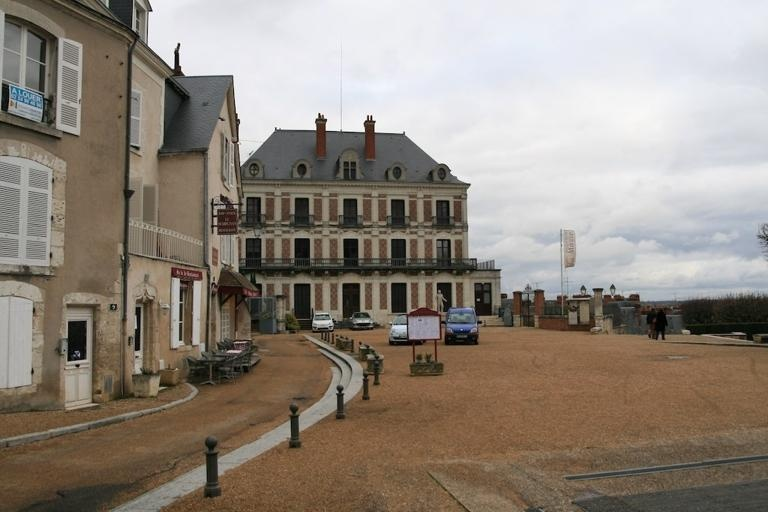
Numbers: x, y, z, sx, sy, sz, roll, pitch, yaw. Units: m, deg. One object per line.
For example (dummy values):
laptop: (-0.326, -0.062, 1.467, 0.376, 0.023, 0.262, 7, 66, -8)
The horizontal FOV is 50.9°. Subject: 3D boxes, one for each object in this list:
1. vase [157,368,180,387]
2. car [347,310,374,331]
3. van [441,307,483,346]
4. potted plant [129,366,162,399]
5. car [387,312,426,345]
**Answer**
vase: (-7.384, 4.168, 27.805, 0.527, 0.548, 0.549, 0, 0, 2)
car: (-1.652, 4.945, 60.633, 1.428, 1.199, 3.020, -1, 5, -8)
van: (4.181, 3.841, 43.332, 1.993, 1.741, 3.288, -1, -9, 3)
potted plant: (-7.721, 4.151, 26.248, 0.643, 0.813, 0.809, 1, 1, 16)
car: (0.919, 4.009, 44.102, 1.280, 1.212, 2.445, 0, -8, -3)
